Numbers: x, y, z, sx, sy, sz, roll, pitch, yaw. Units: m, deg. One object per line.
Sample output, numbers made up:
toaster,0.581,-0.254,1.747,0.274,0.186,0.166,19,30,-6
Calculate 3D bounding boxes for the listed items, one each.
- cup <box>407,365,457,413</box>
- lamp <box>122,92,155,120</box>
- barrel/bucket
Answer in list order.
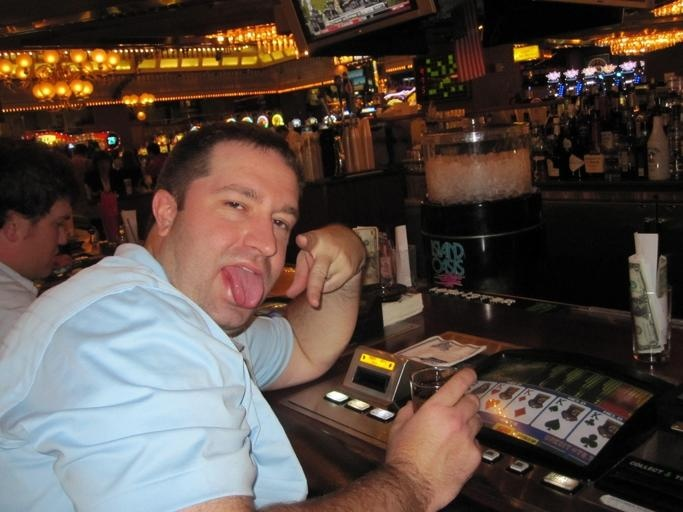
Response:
cup,0.212,0.319,1.214,0.111,0.091,0.087,-3,2,-35
lamp,-6.511,-4.778,15.679,1.107,0.865,1.067,-5,10,-15
barrel/bucket,0.774,-0.097,3.010,0.634,0.577,0.630,-4,9,1
